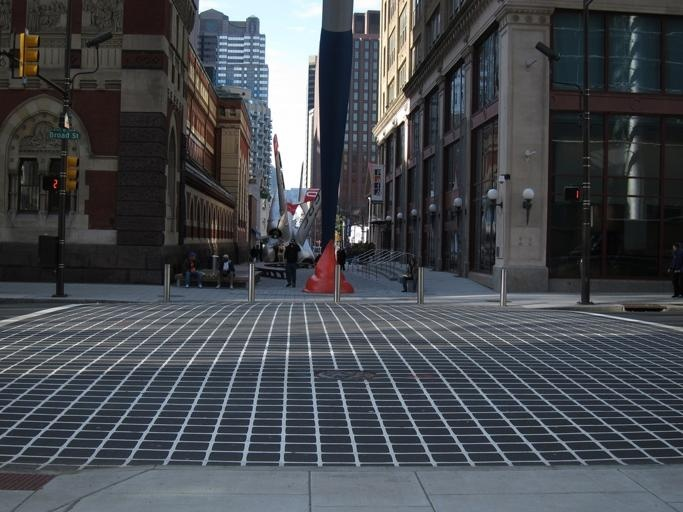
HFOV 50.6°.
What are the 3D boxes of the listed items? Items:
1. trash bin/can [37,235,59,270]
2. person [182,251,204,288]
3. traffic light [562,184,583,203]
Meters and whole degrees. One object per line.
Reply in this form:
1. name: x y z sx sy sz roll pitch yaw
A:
1. trash bin/can: -9.067 -0.066 22.237 0.780 1.332 0.668 1 -4 -7
2. person: -5.723 0.576 27.912 0.685 1.361 1.672 0 1 -18
3. traffic light: 7.556 -2.006 23.409 0.433 0.547 1.019 0 1 25
